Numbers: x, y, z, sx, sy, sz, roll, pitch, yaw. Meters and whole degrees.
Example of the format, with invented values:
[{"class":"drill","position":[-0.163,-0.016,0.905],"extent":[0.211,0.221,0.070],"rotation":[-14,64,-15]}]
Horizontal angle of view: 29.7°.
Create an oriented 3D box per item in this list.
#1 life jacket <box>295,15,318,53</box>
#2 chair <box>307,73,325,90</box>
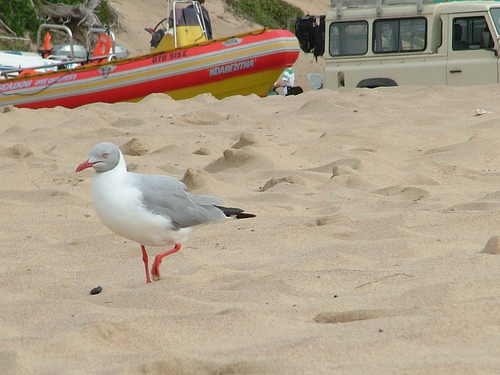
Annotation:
[{"class":"life jacket","position":[0.899,-2.601,16.090],"extent":[0.439,0.499,0.192],"rotation":[5,20,17]},{"class":"chair","position":[1.183,-1.951,17.297],"extent":[0.312,0.240,0.281],"rotation":[-4,26,16]}]
